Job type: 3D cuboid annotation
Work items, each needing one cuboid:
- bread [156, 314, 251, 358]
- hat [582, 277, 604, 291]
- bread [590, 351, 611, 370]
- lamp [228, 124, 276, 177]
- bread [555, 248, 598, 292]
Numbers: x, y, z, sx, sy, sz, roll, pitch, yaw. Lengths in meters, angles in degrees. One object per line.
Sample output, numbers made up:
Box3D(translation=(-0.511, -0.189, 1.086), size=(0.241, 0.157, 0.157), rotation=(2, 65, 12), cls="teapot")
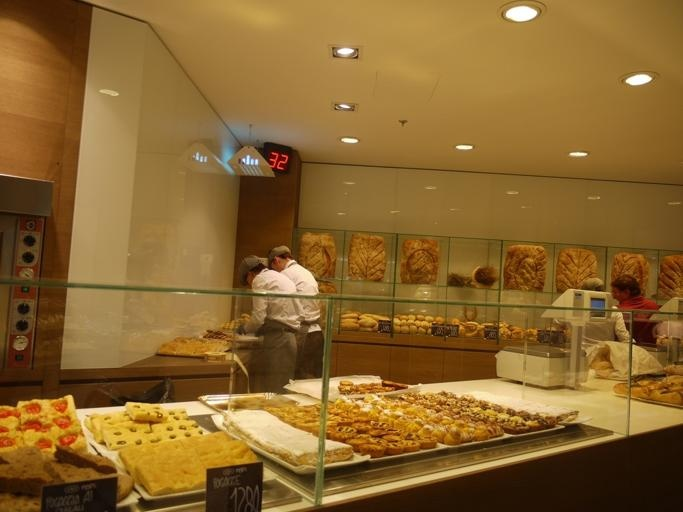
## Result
Box3D(translation=(-0.457, 0.270, 1.691), size=(0.279, 0.155, 0.165), rotation=(2, -5, -15), cls="bread")
Box3D(translation=(2.173, 0.250, 4.437), size=(0.097, 0.123, 0.123), rotation=(-3, -28, 11), cls="hat")
Box3D(translation=(1.171, 0.478, 2.303), size=(0.062, 0.026, 0.078), rotation=(-2, 5, -2), cls="bread")
Box3D(translation=(-0.900, -1.071, 5.286), size=(0.434, 0.487, 0.476), rotation=(1, -22, -1), cls="lamp")
Box3D(translation=(2.645, 0.127, 5.885), size=(0.436, 0.558, 0.157), rotation=(3, -1, 7), cls="bread")
